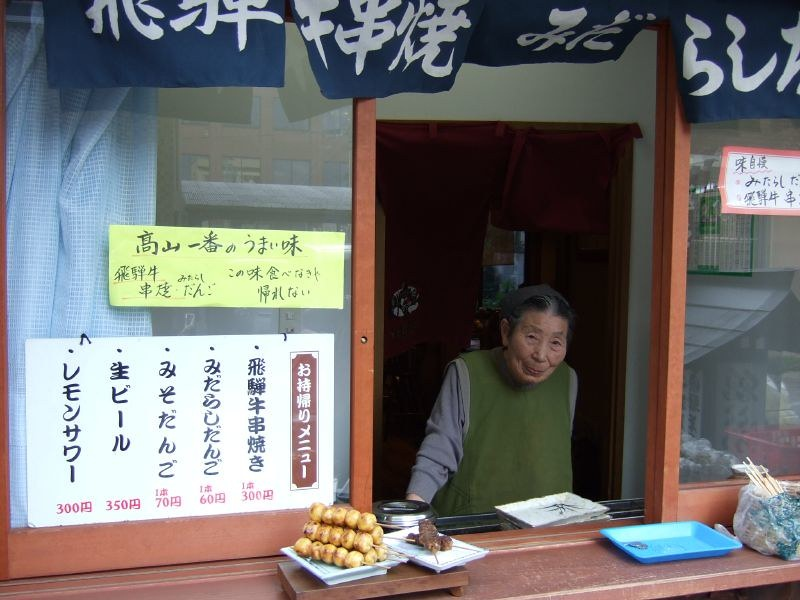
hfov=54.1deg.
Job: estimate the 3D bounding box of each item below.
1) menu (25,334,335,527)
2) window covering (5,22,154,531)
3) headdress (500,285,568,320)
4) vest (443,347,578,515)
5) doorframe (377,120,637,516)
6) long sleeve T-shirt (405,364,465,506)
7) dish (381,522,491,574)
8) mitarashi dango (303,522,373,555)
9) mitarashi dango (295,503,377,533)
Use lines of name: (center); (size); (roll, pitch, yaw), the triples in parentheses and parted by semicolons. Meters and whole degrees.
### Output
menu: (-0.836, 0.502, 3.122); (1.184, 0.725, 0.023); (0, -1, -12)
window covering: (-1.264, -0.112, 3.116); (0.584, 1.947, 0.265); (-2, 8, -18)
headdress: (0.801, 0.004, 4.684); (0.210, 0.135, 0.294); (4, 0, 25)
vest: (0.746, 0.810, 4.942); (0.742, 1.063, 0.575); (-6, 19, -14)
doorframe: (0.850, 0.095, 7.715); (2.454, 4.757, 2.513); (1, 1, 3)
long sleeve T-shirt: (0.256, 0.809, 4.595); (0.207, 0.225, 0.978); (10, 45, 11)
dish: (0.130, 0.988, 3.105); (0.222, 0.057, 0.309); (-1, 1, -35)
mitarashi dango: (-0.233, 0.890, 2.949); (0.286, 0.099, 0.082); (5, -4, 13)
mitarashi dango: (-0.248, 0.826, 3.040); (0.296, 0.093, 0.102); (6, 45, 24)
